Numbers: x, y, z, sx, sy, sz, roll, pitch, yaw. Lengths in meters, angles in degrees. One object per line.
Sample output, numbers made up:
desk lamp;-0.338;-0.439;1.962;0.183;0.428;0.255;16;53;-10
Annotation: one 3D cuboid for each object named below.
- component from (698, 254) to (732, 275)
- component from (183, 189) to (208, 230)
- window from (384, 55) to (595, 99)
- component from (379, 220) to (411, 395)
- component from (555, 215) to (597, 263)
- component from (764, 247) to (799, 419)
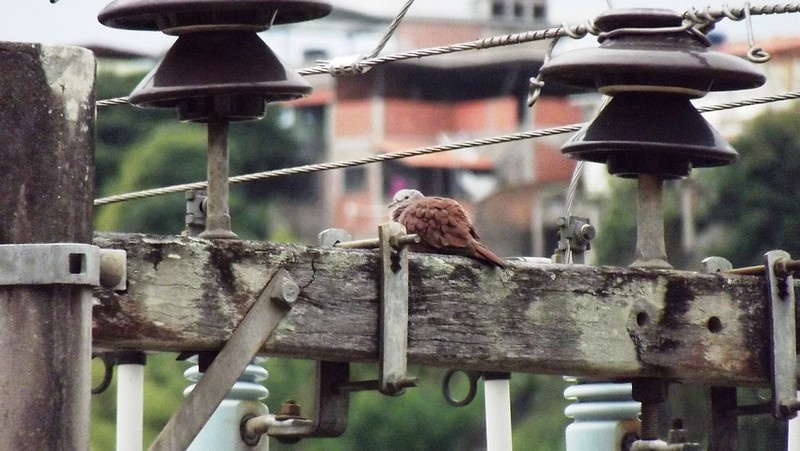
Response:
component;3.858;0.475;31.841;0.379;0.251;0.596;0;-6;7
component;-2.459;-0.166;31.677;0.239;0.578;0.289;2;-6;-3
window;1.480;-3.452;62.566;3.458;0.933;1.259;-2;-7;27
component;-0.036;0.963;30.899;0.440;1.986;0.262;2;-6;-1
component;2.174;0.191;32.036;0.488;0.576;0.455;1;-5;-32
component;4.600;1.296;31.512;0.426;1.970;0.257;1;-6;2
